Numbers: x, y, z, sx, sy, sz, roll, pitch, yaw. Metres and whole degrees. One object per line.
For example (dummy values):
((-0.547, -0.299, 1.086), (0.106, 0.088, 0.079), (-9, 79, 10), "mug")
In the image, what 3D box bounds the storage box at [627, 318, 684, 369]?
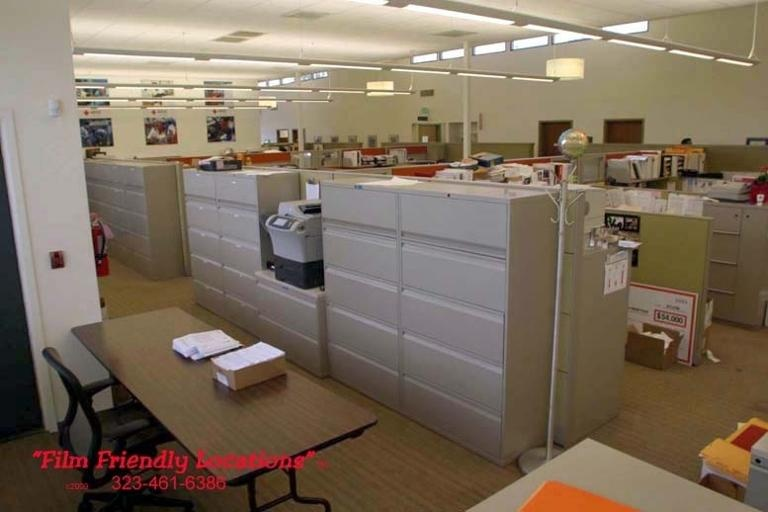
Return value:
((3.020, 1.014, 5.979), (0.504, 0.322, 0.504), (9, 16, 43), "storage box")

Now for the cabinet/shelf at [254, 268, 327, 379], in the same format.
((-0.929, 0.694, 5.545), (0.371, 0.726, 1.018), (-7, 15, -36), "cabinet/shelf")

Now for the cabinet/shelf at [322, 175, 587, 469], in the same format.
((0.664, 0.597, 4.609), (0.725, 2.066, 2.180), (-8, 14, -40), "cabinet/shelf")

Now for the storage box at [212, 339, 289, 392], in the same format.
((-0.975, 0.802, 3.982), (0.411, 0.148, 0.296), (-14, 20, -41), "storage box")

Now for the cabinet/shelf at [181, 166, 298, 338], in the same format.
((-1.735, -0.067, 6.567), (0.665, 1.851, 1.865), (-9, 17, -37), "cabinet/shelf")
